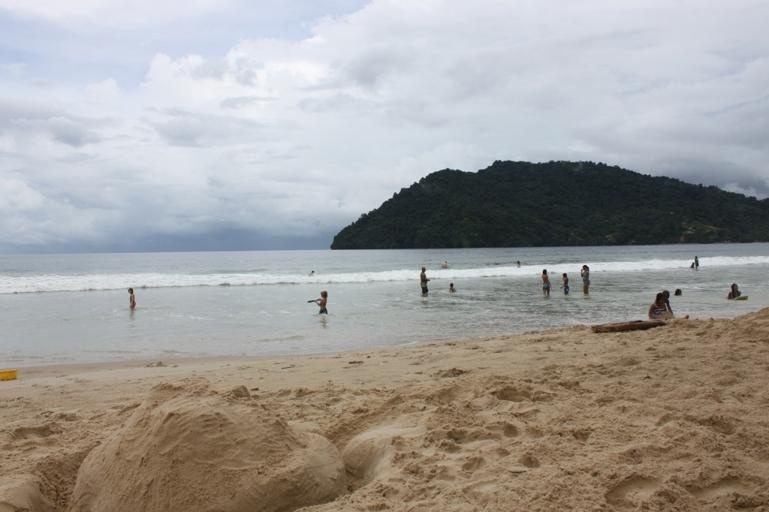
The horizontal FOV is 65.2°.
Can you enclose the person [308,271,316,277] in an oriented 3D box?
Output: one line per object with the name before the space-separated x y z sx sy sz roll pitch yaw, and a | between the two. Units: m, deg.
person | -5.773 1.329 47.515 0.313 0.326 0.770 -17 -4 -2
